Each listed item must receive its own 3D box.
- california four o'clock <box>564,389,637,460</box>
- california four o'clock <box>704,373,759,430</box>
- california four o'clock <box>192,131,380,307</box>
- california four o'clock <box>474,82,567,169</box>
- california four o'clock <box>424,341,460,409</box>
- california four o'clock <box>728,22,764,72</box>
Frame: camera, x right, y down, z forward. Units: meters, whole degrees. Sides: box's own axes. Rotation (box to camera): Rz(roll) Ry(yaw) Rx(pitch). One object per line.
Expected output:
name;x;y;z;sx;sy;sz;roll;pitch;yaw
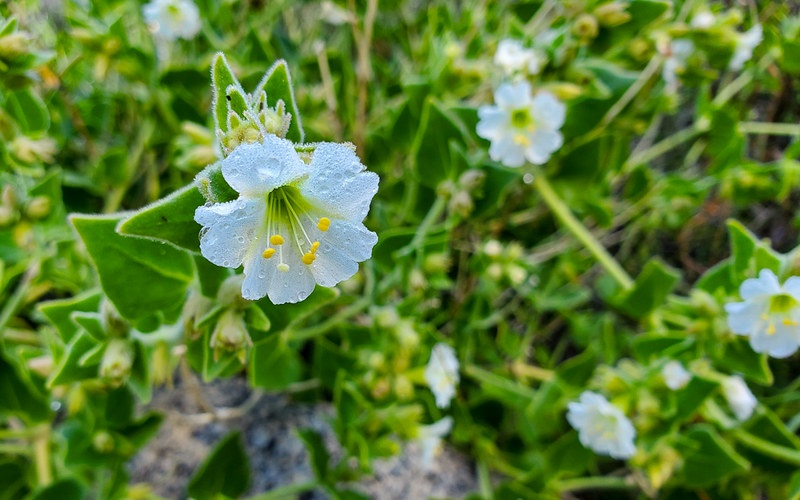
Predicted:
california four o'clock;0.636;0.487;2.676;0.195;0.079;0.191;-9;18;31
california four o'clock;1.065;0.471;2.705;0.099;0.037;0.159;-24;83;0
california four o'clock;-0.328;-0.139;2.469;0.152;0.417;0.458;-29;56;19
california four o'clock;0.383;-0.389;2.716;0.252;0.177;0.238;-31;69;-14
california four o'clock;0.141;0.407;2.805;0.109;0.052;0.204;-8;73;-2
california four o'clock;1.131;-0.662;2.802;0.098;0.043;0.156;28;102;33
